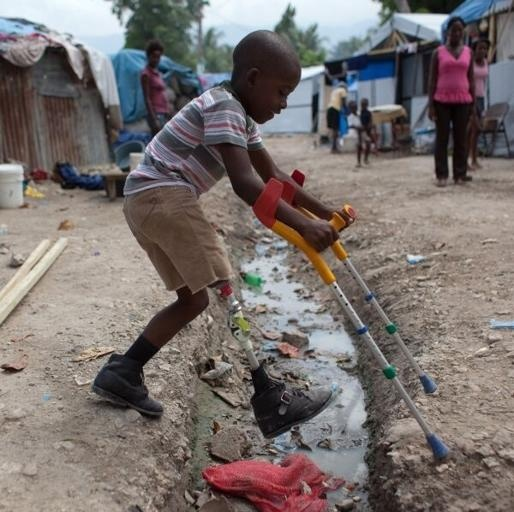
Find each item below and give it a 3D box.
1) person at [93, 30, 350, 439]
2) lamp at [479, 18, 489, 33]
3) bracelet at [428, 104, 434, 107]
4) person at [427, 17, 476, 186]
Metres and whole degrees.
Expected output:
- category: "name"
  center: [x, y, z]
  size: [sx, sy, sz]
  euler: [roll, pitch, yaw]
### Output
- category: "person"
  center: [-0.184, -0.062, 2.882]
  size: [1.153, 2.012, 0.728]
  euler: [-1, 16, 6]
- category: "lamp"
  center: [2.520, -2.591, 6.438]
  size: [0.073, 0.100, 0.108]
  euler: [9, 14, 22]
- category: "bracelet"
  center: [1.909, -1.672, 6.364]
  size: [0.029, 0.042, 0.047]
  euler: [-2, 2, -11]
- category: "person"
  center: [2.127, -1.671, 6.378]
  size: [0.444, 1.785, 0.614]
  euler: [7, 19, 31]
